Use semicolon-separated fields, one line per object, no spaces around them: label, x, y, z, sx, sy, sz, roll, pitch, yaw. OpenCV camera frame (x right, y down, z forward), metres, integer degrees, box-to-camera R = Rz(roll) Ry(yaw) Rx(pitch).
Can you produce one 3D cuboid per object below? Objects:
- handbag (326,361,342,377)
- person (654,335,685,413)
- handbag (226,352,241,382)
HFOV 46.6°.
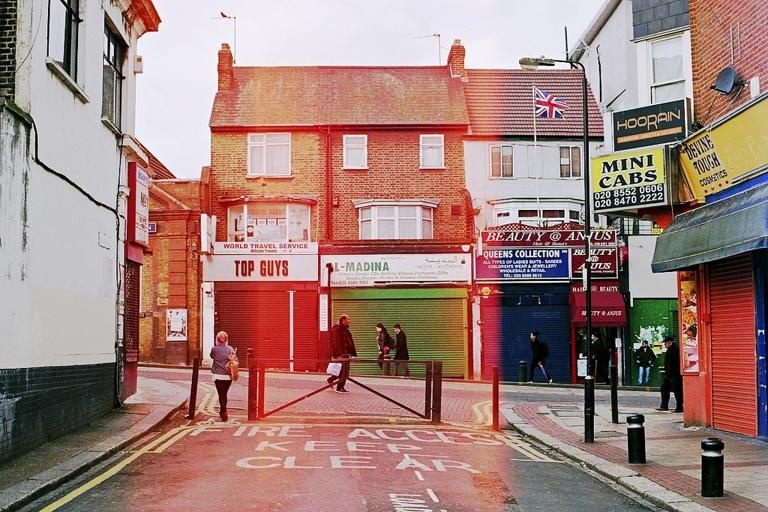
handbag;-1.322;3.050;24.129;0.383;0.396;0.092;-3;-22;32
person;8.448;3.481;26.390;0.691;2.138;0.735;3;-7;-9
handbag;-3.849;2.808;22.840;0.254;0.655;0.411;-3;-8;10
